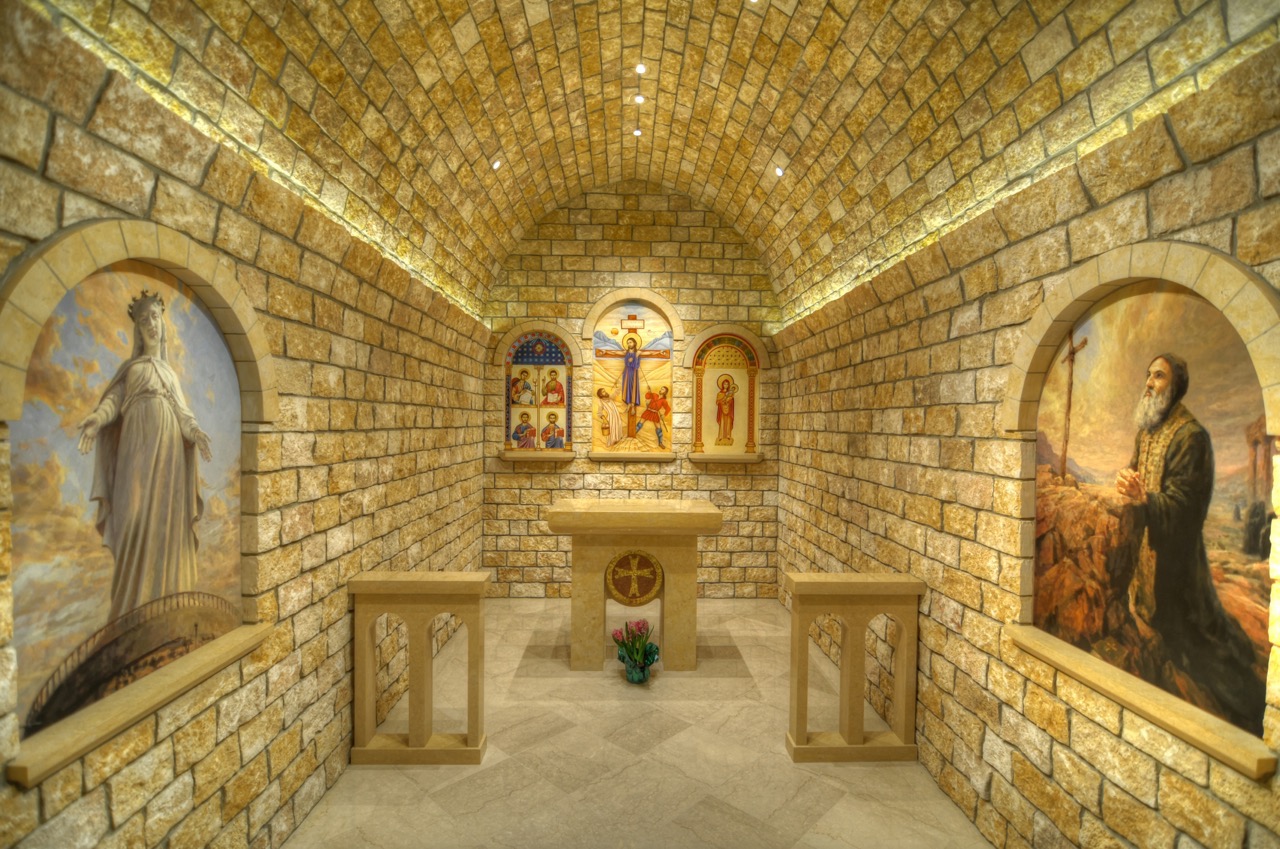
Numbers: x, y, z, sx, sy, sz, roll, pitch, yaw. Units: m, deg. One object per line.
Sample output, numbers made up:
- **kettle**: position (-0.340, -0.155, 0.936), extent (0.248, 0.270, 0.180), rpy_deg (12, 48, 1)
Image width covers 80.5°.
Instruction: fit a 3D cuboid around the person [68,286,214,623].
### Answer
- **person**: position (-2.894, 0.150, 4.429), extent (0.190, 1.843, 0.725), rpy_deg (3, 11, 14)
